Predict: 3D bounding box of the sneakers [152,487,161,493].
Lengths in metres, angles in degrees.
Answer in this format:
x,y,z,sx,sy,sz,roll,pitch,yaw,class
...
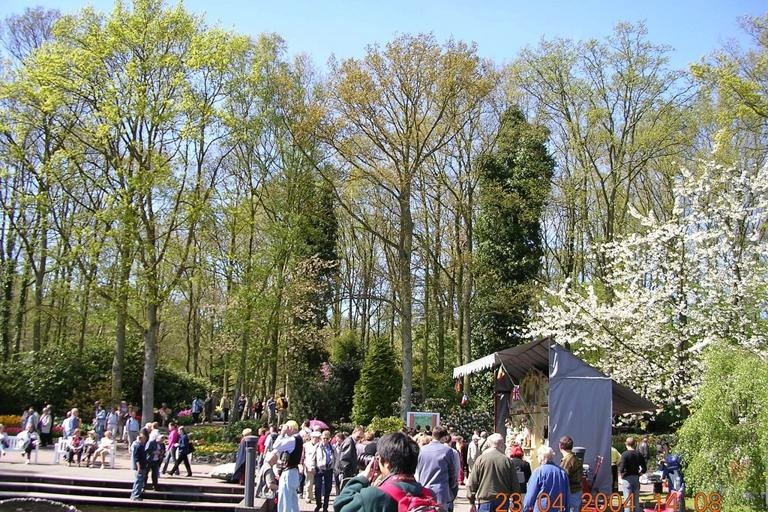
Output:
x,y,z,sx,sy,sz,roll,pitch,yaw,class
-8.368,8.551,35.350,0.247,0.178,0.239,8,-17,-17,sneakers

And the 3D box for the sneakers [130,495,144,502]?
x,y,z,sx,sy,sz,roll,pitch,yaw,class
-8.955,8.787,34.814,0.438,0.195,0.160,3,-12,-8,sneakers
